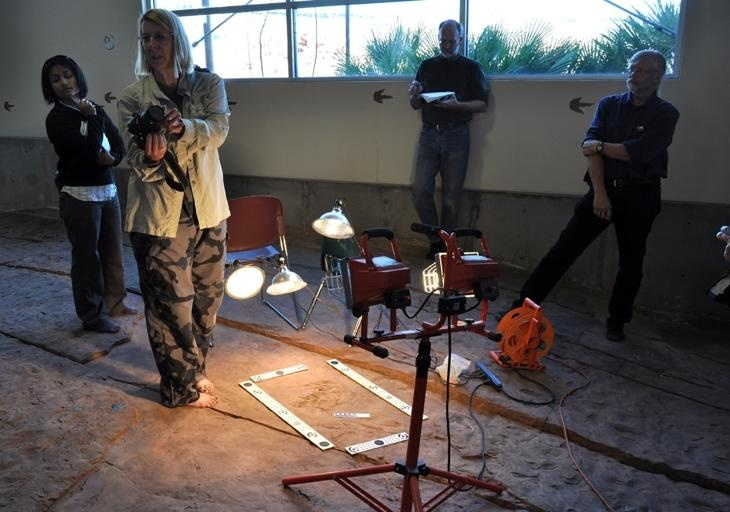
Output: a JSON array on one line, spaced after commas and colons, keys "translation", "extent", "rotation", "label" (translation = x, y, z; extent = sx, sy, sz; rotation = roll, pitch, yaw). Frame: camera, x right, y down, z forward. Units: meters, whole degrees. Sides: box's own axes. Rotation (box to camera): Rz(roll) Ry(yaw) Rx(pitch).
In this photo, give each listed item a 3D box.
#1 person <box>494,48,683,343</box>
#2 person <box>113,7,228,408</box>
[{"translation": [2.270, -0.563, 4.822], "extent": [0.915, 2.566, 0.864], "rotation": [10, 20, 28], "label": "person"}, {"translation": [-1.255, -0.260, 3.571], "extent": [0.693, 2.683, 0.550], "rotation": [-14, 22, -37], "label": "person"}]
